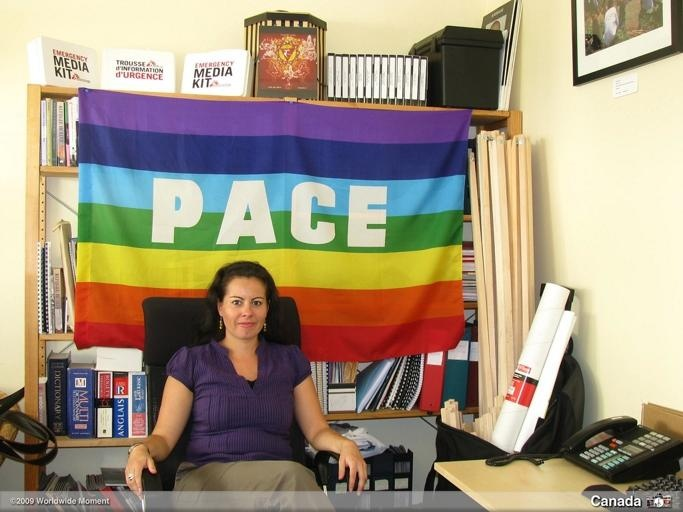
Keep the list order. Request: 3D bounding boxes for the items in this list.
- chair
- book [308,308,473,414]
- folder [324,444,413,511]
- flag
[{"bbox_3d":[-0.431,0.659,3.402,0.828,1.139,0.925,1,-9,-12],"label":"chair"},{"bbox_3d":[0.251,0.570,3.573,0.536,0.531,0.182,-1,8,-1],"label":"book"},{"bbox_3d":[0.116,1.085,3.182,0.476,0.383,0.262,2,-8,-19],"label":"folder"},{"bbox_3d":[-0.428,-0.154,3.433,1.456,1.089,0.073,1,4,-6],"label":"flag"}]
